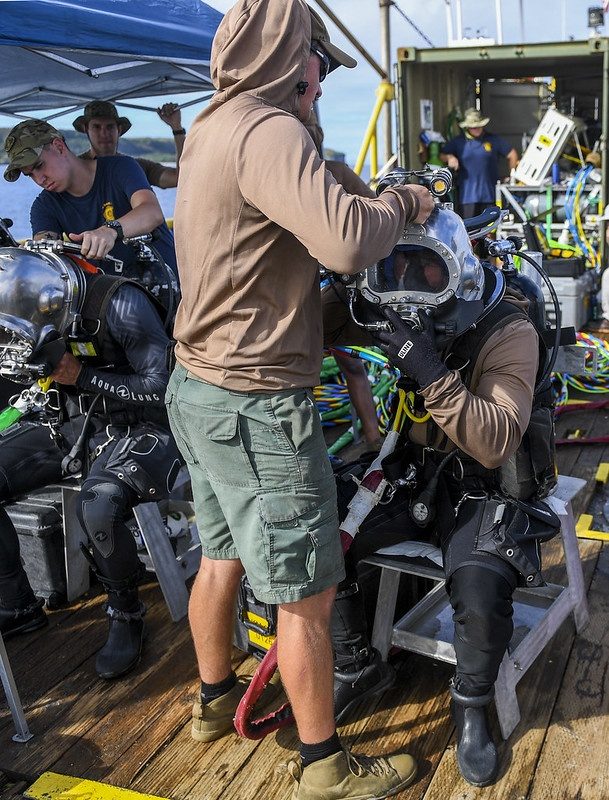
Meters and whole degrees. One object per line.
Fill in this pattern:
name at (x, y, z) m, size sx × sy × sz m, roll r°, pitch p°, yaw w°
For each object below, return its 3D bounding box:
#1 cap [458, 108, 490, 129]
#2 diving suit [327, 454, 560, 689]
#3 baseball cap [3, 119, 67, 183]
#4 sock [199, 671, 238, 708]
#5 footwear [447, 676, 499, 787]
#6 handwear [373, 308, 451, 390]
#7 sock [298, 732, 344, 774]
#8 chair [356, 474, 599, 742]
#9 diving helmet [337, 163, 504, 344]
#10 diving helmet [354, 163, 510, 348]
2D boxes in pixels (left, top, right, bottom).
cap at (2.584, -4.223, 9.756) m, size 0.419 × 0.186 × 0.413 m, roll -40°, pitch 37°, yaw -28°
diving suit at (0.481, 0.509, 2.162) m, size 0.698 × 0.611 × 0.709 m, roll 3°, pitch 8°, yaw 40°
baseball cap at (-1.342, -1.277, 3.259) m, size 0.281 × 0.240 × 0.184 m, roll -11°, pitch 12°, yaw -24°
sock at (-0.266, 0.877, 1.978) m, size 0.090 × 0.080 × 0.112 m, roll -8°, pitch -9°, yaw 8°
footwear at (0.477, 0.943, 1.851) m, size 0.114 × 0.175 × 0.302 m, roll -8°, pitch 9°, yaw 11°
handwear at (0.280, -0.141, 1.701) m, size 0.152 × 0.213 × 0.064 m, roll -22°, pitch -5°, yaw 39°
sock at (0.040, 0.874, 1.634) m, size 0.089 × 0.075 × 0.103 m, roll -20°, pitch -22°, yaw 10°
chair at (0.629, 0.720, 2.362) m, size 0.753 × 0.740 × 0.974 m, roll 3°, pitch 12°, yaw 36°
diving helmet at (0.292, -0.435, 1.925) m, size 0.433 × 0.492 × 0.532 m, roll 0°, pitch 21°, yaw 30°
diving helmet at (0.372, -0.424, 1.835) m, size 0.387 × 0.420 × 0.479 m, roll 11°, pitch 33°, yaw 32°
